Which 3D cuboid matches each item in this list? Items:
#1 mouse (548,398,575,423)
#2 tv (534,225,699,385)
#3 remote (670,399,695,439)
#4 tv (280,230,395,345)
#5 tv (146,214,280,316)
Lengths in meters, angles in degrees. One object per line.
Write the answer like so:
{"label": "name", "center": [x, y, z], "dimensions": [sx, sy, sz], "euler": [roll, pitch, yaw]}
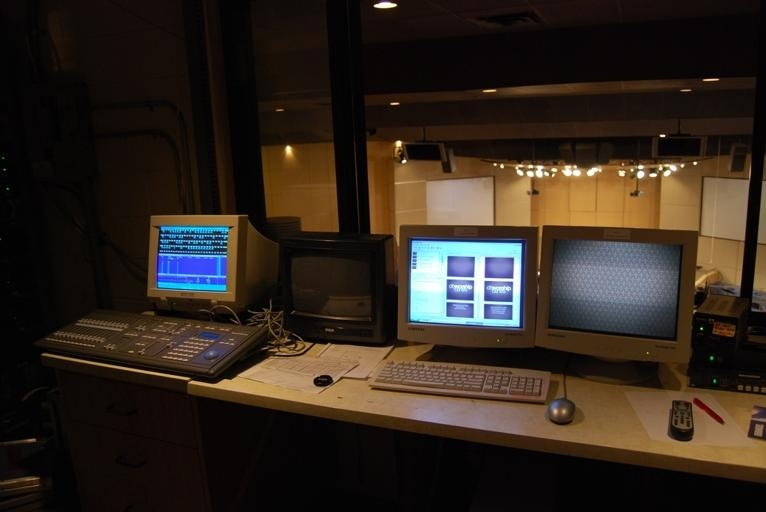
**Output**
{"label": "mouse", "center": [0.704, 0.606, 2.309], "dimensions": [0.094, 0.064, 0.091], "euler": [-22, 28, -14]}
{"label": "tv", "center": [1.080, 0.198, 2.654], "dimensions": [0.630, 0.645, 0.411], "euler": [4, 0, 34]}
{"label": "remote", "center": [1.156, 0.630, 2.252], "dimensions": [0.090, 0.049, 0.179], "euler": [4, 29, 26]}
{"label": "tv", "center": [-0.199, 0.163, 2.985], "dimensions": [0.572, 0.503, 0.324], "euler": [2, 7, 19]}
{"label": "tv", "center": [-0.872, 0.023, 3.157], "dimensions": [0.724, 0.505, 0.501], "euler": [1, 2, 13]}
